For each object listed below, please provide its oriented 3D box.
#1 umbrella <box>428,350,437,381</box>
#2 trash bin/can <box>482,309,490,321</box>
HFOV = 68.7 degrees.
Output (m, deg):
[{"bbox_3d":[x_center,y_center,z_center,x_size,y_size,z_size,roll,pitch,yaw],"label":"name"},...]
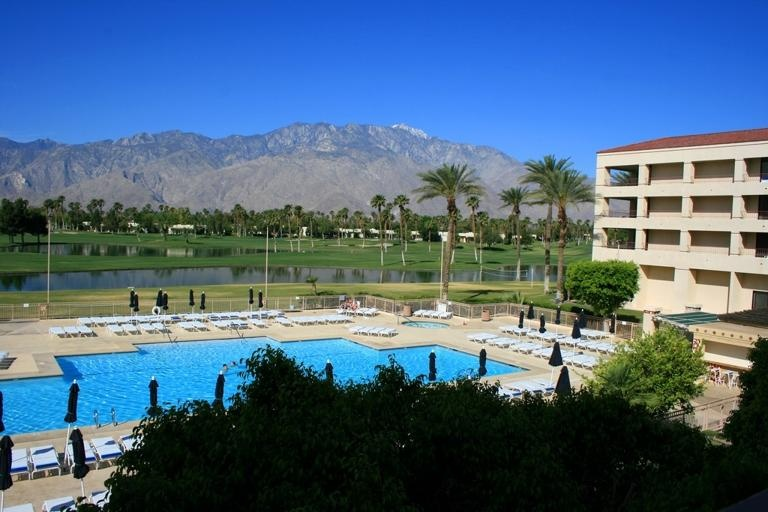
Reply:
[{"bbox_3d":[3.061,6.966,35.773,0.370,2.024,0.845,0,7,-1],"label":"umbrella"},{"bbox_3d":[10.222,5.934,55.936,0.832,0.928,0.890,0,-1,-7],"label":"trash bin/can"}]
